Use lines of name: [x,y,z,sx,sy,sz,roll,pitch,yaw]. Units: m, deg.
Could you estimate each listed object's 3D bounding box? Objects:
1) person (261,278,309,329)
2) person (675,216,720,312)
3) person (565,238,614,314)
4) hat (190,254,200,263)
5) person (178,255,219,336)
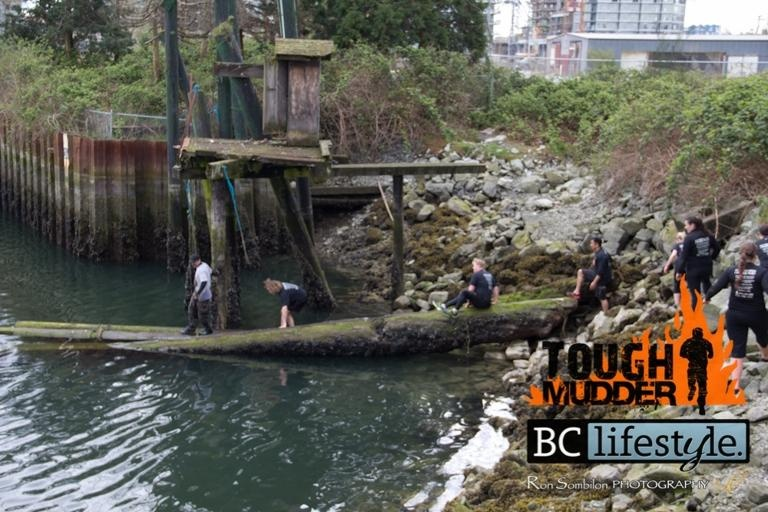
person: [-2.935,1.416,27.522,1.094,1.558,2.299,0,8,1]
person: [8.816,0.260,24.981,1.210,2.904,0.797,-13,19,-14]
person: [6.338,0.527,26.814,1.152,2.217,0.669,1,8,13]
hat: [-5.638,0.065,26.649,0.188,0.212,0.217,-5,16,-31]
person: [-5.710,1.310,27.500,1.138,2.903,1.417,9,21,11]
